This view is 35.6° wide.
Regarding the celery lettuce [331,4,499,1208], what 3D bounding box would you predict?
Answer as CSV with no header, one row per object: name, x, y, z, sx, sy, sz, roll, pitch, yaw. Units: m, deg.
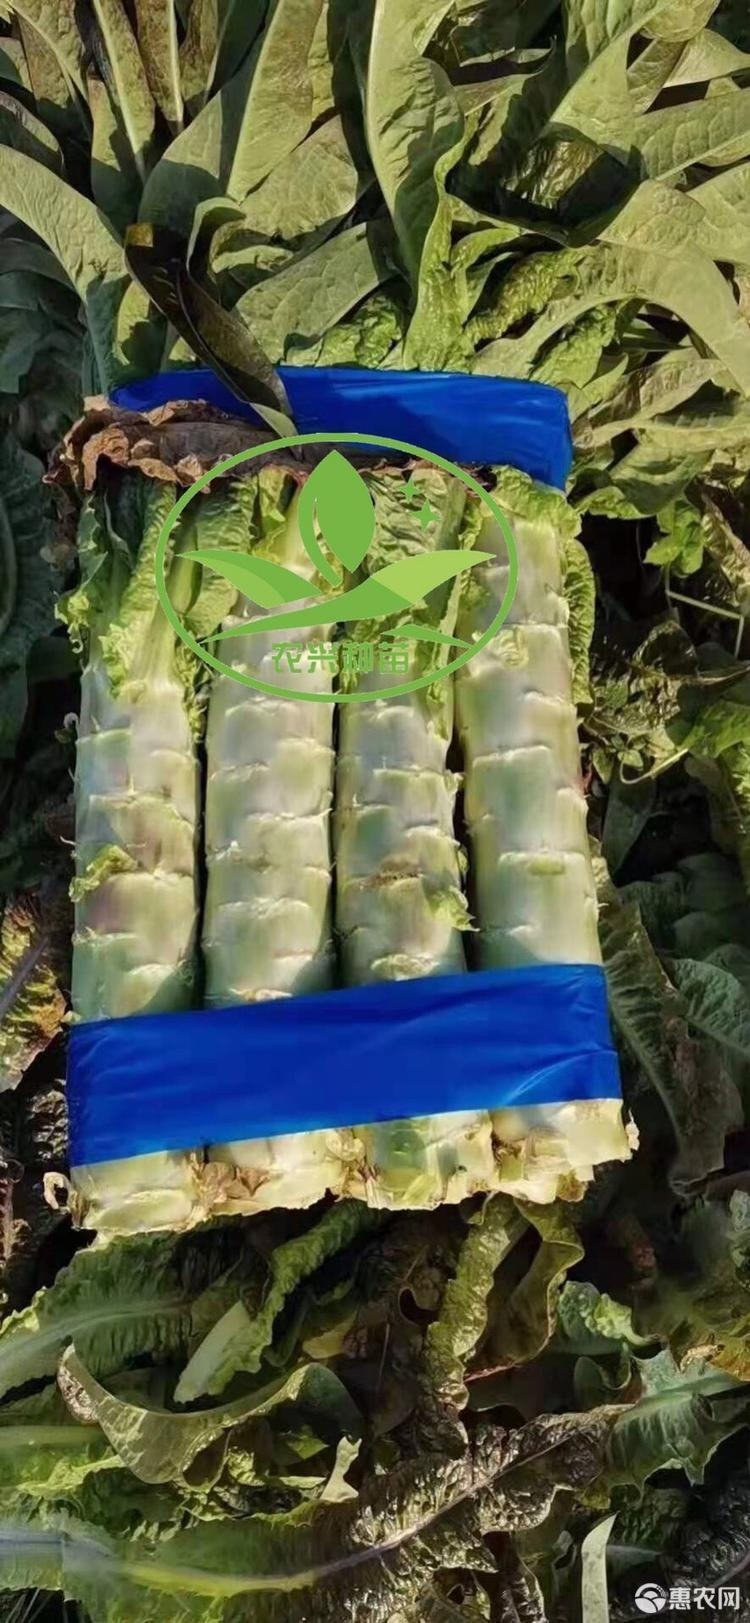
celery lettuce,0.044,-0.348,1.886,0.266,1.883,0.253,-3,0,-3
